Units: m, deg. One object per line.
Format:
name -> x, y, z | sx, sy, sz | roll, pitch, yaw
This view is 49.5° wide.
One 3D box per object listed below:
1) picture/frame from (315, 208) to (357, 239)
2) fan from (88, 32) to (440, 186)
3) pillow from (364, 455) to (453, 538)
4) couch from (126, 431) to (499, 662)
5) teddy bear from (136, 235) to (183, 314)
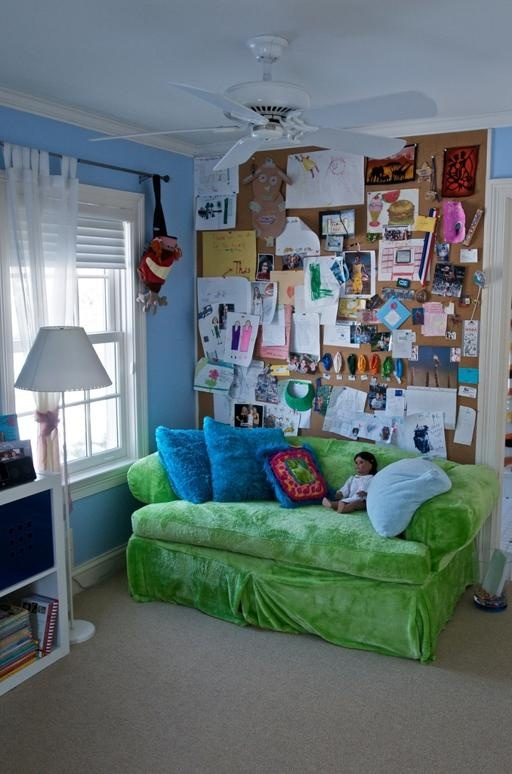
picture/frame -> 0.459, -0.933, 3.129 | 0.182, 0.136, 0.024 | 8, 15, 35
fan -> 0.033, -1.083, 2.155 | 0.711, 0.236, 0.758 | -9, -8, 40
pillow -> 0.676, 0.490, 2.503 | 0.357, 0.293, 0.340 | 0, 1, -6
couch -> 0.239, 0.750, 2.639 | 1.619, 0.662, 0.617 | 0, 1, 23
teddy bear -> -0.576, -0.652, 3.212 | 0.218, 0.413, 0.243 | 1, 2, 45
